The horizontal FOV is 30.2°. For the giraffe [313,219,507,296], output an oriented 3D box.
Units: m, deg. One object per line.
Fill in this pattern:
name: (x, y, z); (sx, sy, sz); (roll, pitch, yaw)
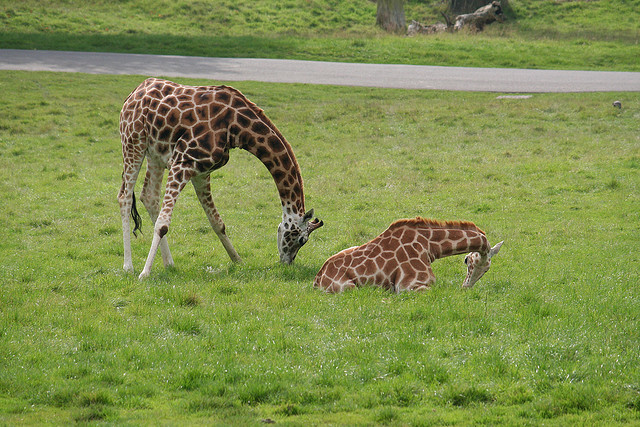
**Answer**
giraffe: (5.573, 1.728, 52.285); (5.043, 4.410, 10.241); (0, -2, -40)
